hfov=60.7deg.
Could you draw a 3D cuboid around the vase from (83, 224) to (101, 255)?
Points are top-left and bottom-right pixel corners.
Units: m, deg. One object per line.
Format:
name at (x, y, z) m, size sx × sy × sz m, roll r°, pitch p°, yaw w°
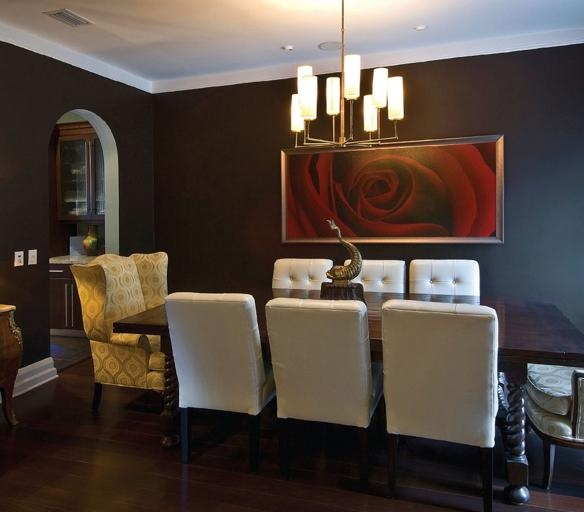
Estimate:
vase at (-2.265, -0.177, 5.625) m, size 0.166 × 0.348 × 0.261 m, roll -4°, pitch 9°, yaw -24°
